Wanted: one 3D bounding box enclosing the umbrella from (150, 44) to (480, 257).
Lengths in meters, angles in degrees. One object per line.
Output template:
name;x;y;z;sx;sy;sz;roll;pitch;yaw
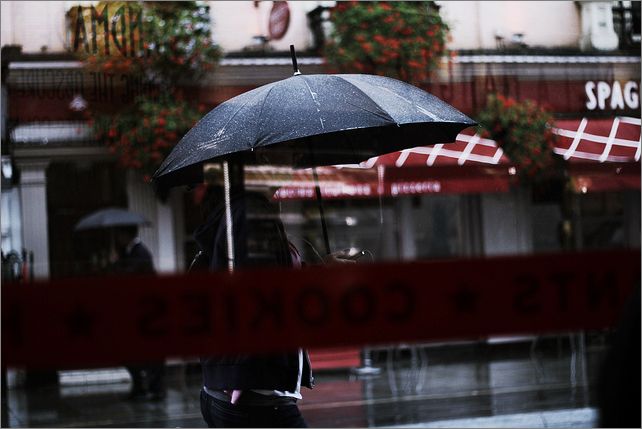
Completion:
umbrella;-0.092;-0.600;10.834;2.737;1.868;1.606;-5;7;-24
